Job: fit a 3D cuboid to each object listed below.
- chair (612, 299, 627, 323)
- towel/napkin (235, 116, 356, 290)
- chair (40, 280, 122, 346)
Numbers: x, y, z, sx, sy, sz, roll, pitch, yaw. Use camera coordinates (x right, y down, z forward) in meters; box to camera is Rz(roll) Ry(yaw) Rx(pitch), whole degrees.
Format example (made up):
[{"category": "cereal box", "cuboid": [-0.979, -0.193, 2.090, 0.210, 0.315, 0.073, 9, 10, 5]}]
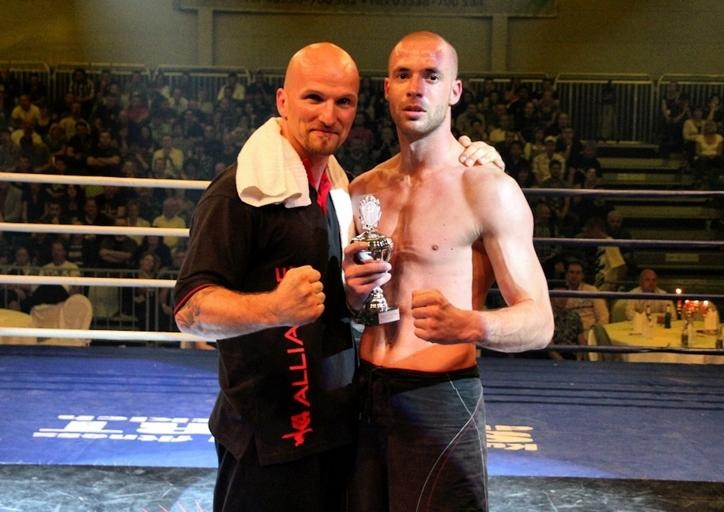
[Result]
[{"category": "chair", "cuboid": [2.256, 0.483, 7.421, 0.152, 0.169, 0.165, 3, 11, 17]}, {"category": "towel/napkin", "cuboid": [-0.358, -0.302, 4.285, 0.688, 0.813, 0.298, 3, -17, -28]}, {"category": "chair", "cuboid": [-2.525, 0.520, 7.231, 0.536, 0.468, 0.403, 10, -24, 2]}]
